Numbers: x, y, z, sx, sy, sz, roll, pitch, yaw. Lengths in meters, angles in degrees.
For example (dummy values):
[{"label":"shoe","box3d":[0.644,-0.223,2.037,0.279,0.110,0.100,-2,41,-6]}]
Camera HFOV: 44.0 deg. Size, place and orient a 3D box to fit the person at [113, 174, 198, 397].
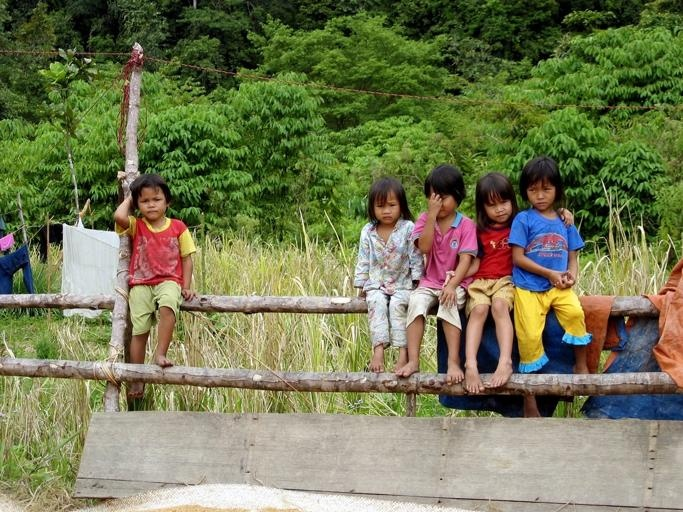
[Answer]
[{"label":"person","box3d":[-1.528,0.109,6.919,0.632,1.556,0.412,-1,2,-9]}]
